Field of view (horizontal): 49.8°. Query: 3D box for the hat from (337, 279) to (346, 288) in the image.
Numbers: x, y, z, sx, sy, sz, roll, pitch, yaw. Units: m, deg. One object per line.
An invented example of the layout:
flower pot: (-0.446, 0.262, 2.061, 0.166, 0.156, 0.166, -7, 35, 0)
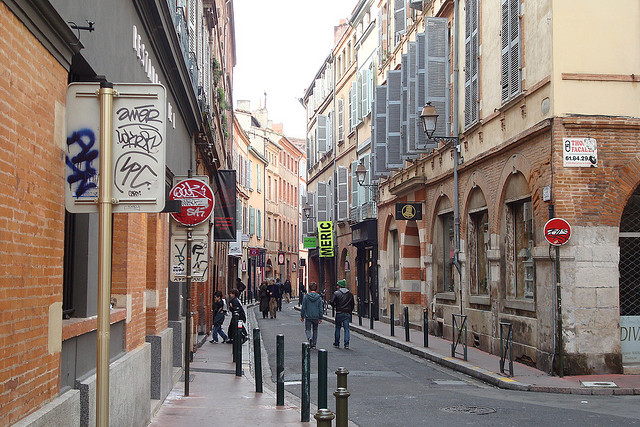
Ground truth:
hat: (0.735, 2.219, 22.200, 0.242, 0.240, 0.362, -2, 12, -15)

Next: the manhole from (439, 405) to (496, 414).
manhole: (2.671, 3.532, 12.498, 0.944, 0.091, 0.767, -1, -10, 10)

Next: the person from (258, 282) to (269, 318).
person: (-2.933, 4.515, 36.348, 0.496, 1.800, 1.442, 2, -9, -5)

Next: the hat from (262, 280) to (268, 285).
hat: (-2.854, 3.537, 35.828, 0.206, 0.092, 0.319, -1, -21, 8)

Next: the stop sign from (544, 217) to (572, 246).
stop sign: (5.393, 0.389, 15.515, 0.564, 0.757, 0.115, -1, 0, -1)
